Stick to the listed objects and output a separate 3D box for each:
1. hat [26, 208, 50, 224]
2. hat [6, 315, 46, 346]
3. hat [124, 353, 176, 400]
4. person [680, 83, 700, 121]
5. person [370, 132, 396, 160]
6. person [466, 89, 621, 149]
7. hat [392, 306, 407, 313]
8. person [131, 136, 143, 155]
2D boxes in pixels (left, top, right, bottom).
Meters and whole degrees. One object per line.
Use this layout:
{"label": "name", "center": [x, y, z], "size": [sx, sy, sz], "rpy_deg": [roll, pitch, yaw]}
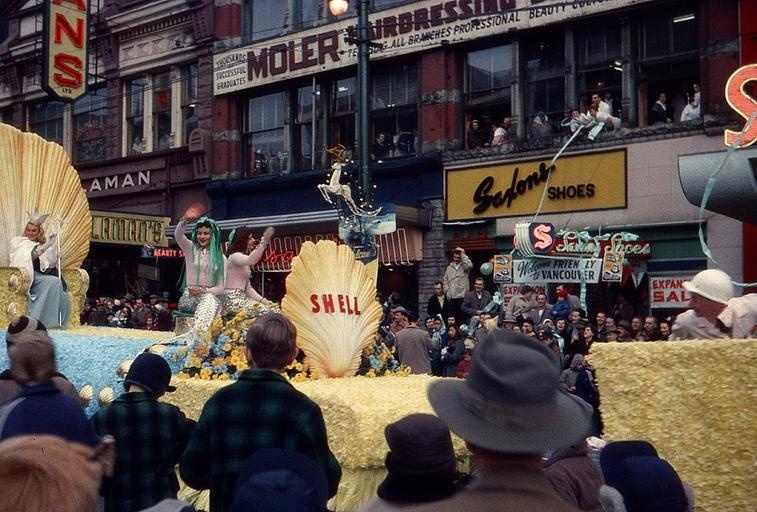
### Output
{"label": "hat", "center": [-5.275, -0.618, 15.642], "size": [0.287, 0.112, 0.254], "rpy_deg": [-2, 22, -16]}
{"label": "hat", "center": [-3.614, 0.737, 10.252], "size": [0.424, 0.226, 0.419], "rpy_deg": [-7, 16, -12]}
{"label": "hat", "center": [-2.170, 1.163, 9.733], "size": [0.347, 0.352, 0.467], "rpy_deg": [10, -21, 12]}
{"label": "person", "center": [6.369, -3.102, 20.518], "size": [0.360, 0.796, 0.658], "rpy_deg": [0, -2, 10]}
{"label": "person", "center": [0.118, -2.782, 25.234], "size": [0.305, 0.736, 0.712], "rpy_deg": [1, -2, -40]}
{"label": "person", "center": [3.610, -2.919, 22.366], "size": [3.187, 1.214, 1.176], "rpy_deg": [-1, -6, 25]}
{"label": "hat", "center": [0.374, 0.923, 17.462], "size": [0.369, 0.120, 0.323], "rpy_deg": [2, -5, 6]}
{"label": "person", "center": [-7.186, -3.352, 30.217], "size": [0.191, 0.522, 0.855], "rpy_deg": [1, -2, -27]}
